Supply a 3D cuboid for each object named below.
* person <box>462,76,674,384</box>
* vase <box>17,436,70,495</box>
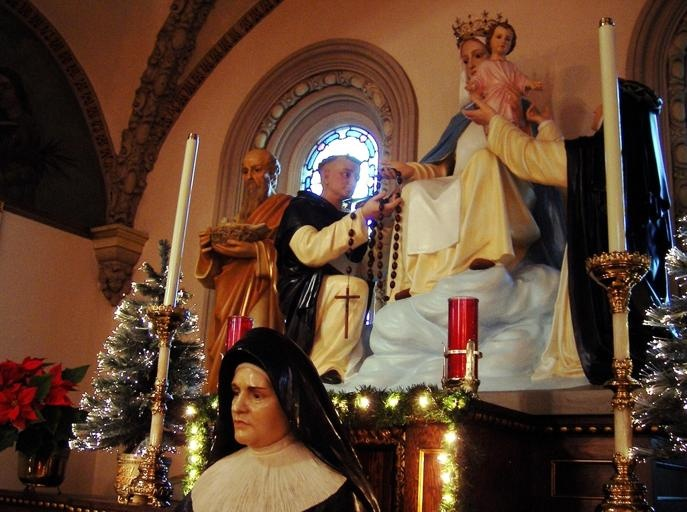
[{"bbox_3d":[1.276,-0.290,4.591,0.860,1.089,1.645,-14,-58,-9],"label":"person"},{"bbox_3d":[-1.575,1.120,4.486,0.264,0.308,0.275,7,-19,-15],"label":"vase"}]
